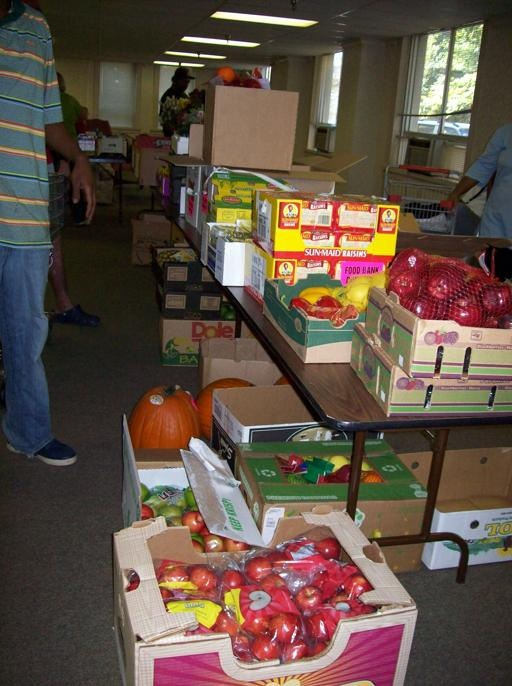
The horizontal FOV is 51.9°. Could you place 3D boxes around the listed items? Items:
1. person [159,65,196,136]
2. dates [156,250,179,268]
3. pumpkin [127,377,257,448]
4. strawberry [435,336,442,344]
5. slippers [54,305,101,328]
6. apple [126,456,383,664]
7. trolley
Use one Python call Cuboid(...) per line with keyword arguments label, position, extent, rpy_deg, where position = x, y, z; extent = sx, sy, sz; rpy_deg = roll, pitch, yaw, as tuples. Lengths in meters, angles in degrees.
Cuboid(label="person", position=(-0.916, -2.790, 6.189), extent=(0.381, 0.763, 0.346), rpy_deg=(15, 18, 39))
Cuboid(label="dates", position=(-0.707, -0.695, 4.092), extent=(0.211, 0.089, 0.283), rpy_deg=(-6, 29, -10))
Cuboid(label="pumpkin", position=(-0.283, 0.306, 2.236), extent=(0.498, 0.283, 0.426), rpy_deg=(-4, 21, -15))
Cuboid(label="strawberry", position=(0.354, -0.007, 1.021), extent=(0.012, 0.015, 0.009), rpy_deg=(26, 29, 28))
Cuboid(label="slippers", position=(-1.389, -0.192, 4.082), extent=(0.407, 0.163, 0.147), rpy_deg=(5, 14, -5))
Cuboid(label="apple", position=(0.019, 0.448, 1.023), extent=(0.408, 0.168, 0.357), rpy_deg=(0, 15, -15))
Cuboid(label="trolley", position=(1.810, -1.589, 5.699), extent=(0.631, 0.624, 0.407), rpy_deg=(14, 11, 27))
